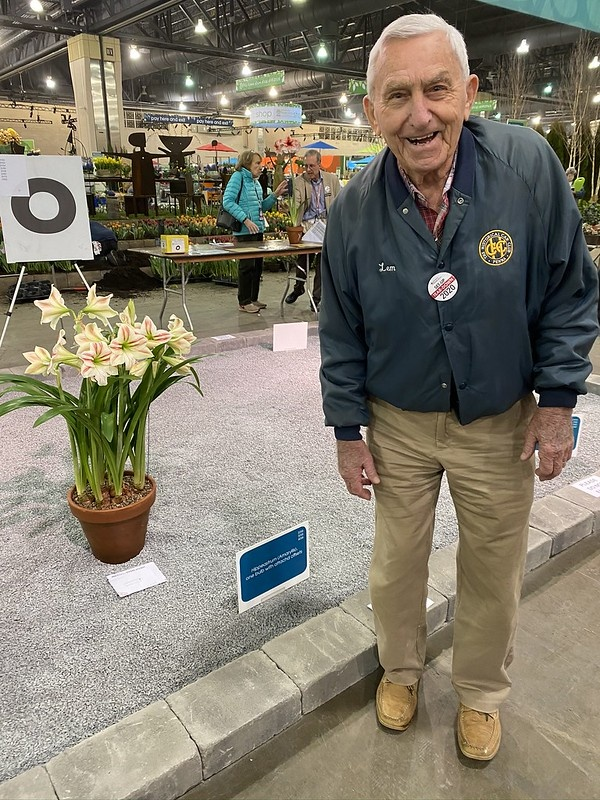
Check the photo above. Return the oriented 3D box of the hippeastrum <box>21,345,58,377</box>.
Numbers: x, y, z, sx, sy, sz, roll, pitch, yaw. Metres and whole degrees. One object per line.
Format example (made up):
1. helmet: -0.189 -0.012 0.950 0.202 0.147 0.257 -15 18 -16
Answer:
1. hippeastrum: -0.866 -0.133 1.721 0.088 0.102 0.162 -14 19 -27

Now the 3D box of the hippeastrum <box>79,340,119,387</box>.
1. hippeastrum: -0.604 -0.110 1.546 0.123 0.120 0.048 -2 -10 -20

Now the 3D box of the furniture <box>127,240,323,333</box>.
1. furniture: -0.863 -1.792 7.392 2.818 0.908 4.655 -9 17 -16

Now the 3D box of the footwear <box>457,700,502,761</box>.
1. footwear: 0.431 0.806 1.232 0.060 0.059 0.158 0 14 8

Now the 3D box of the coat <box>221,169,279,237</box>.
1. coat: -0.646 -2.284 5.984 0.537 0.718 0.412 -12 18 -22

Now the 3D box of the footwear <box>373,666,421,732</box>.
1. footwear: 0.247 0.785 1.366 0.061 0.059 0.159 4 15 15

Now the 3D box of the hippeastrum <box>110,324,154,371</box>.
1. hippeastrum: -0.521 -0.172 1.628 0.103 0.147 0.183 -2 17 9

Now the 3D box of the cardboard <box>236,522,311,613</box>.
1. cardboard: -0.086 0.572 1.722 0.010 0.195 0.272 23 36 39

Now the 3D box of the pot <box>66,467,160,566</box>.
1. pot: -0.668 0.451 1.984 0.314 0.234 0.306 -1 22 0
